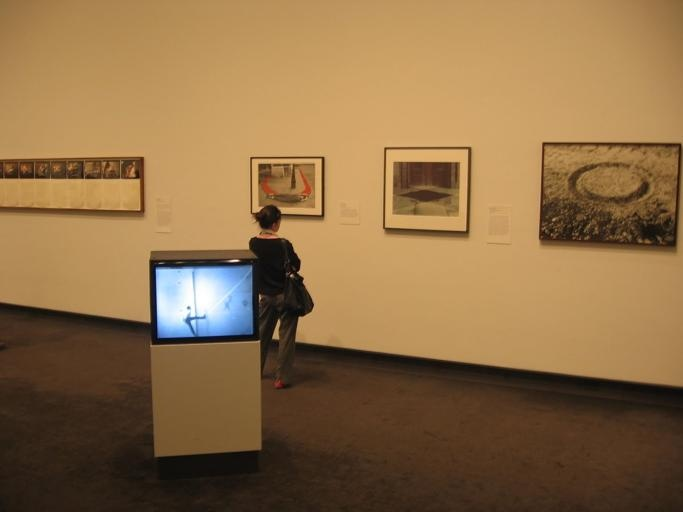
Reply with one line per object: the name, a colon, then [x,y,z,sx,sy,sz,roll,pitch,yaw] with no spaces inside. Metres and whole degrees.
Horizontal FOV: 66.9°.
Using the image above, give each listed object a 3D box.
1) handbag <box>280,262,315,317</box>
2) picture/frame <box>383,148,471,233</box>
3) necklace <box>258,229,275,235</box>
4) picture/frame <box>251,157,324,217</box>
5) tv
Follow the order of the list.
handbag: [-0.482,0.402,6.028,0.258,0.623,0.354,5,11,22]
picture/frame: [1.135,-0.864,6.577,0.945,1.002,0.075,2,3,15]
necklace: [-0.858,-0.287,6.026,0.179,0.065,0.165,-1,11,-8]
picture/frame: [-0.693,-0.968,7.107,0.823,0.676,0.031,3,8,15]
tv: [-1.108,0.330,4.551,1.093,1.038,0.625,0,8,-5]
